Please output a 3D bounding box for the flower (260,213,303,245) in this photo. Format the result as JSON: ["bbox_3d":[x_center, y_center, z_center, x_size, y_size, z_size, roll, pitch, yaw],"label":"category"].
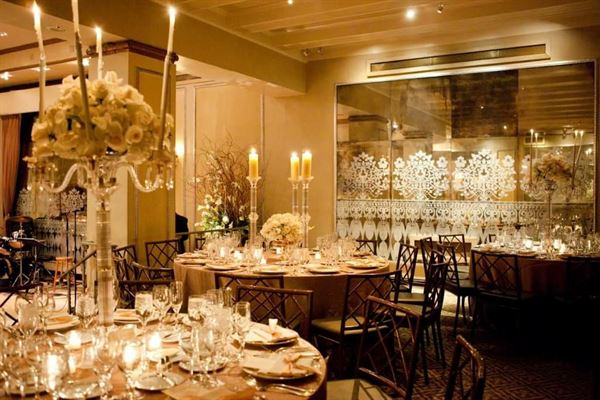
[{"bbox_3d":[-0.188,0.340,5.854,0.385,0.358,0.377,-1,1,-42],"label":"flower"}]

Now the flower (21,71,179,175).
[{"bbox_3d":[-1.366,-0.453,3.564,0.690,0.653,0.728,0,-1,10],"label":"flower"}]

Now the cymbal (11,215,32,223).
[{"bbox_3d":[-5.664,0.405,10.322,0.257,0.066,0.268,10,10,33],"label":"cymbal"}]

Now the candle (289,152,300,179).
[{"bbox_3d":[-0.059,-0.380,5.748,0.085,0.282,0.216,1,9,3],"label":"candle"}]

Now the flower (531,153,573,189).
[{"bbox_3d":[3.957,-0.389,7.862,0.470,0.506,0.416,18,36,24],"label":"flower"}]

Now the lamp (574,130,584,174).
[{"bbox_3d":[4.280,-0.748,7.723,0.125,0.649,0.109,4,9,20],"label":"lamp"}]
